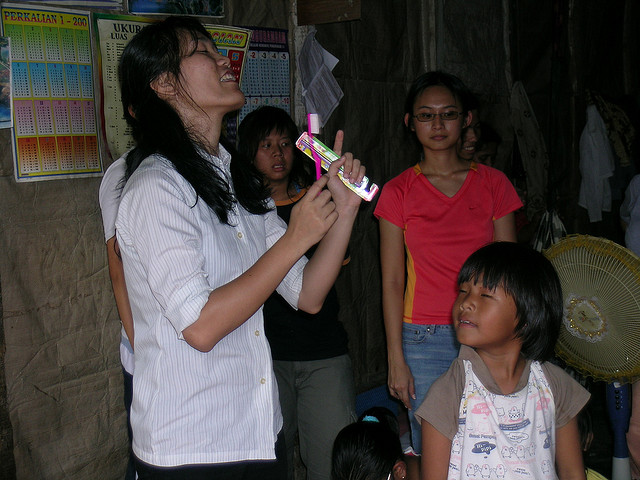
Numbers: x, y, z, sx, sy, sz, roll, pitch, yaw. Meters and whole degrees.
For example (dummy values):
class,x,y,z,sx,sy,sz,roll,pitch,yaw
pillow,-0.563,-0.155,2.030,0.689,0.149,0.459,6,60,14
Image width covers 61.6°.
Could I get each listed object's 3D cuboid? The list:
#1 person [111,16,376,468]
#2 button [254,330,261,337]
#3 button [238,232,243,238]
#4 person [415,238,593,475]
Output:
class,x,y,z,sx,sy,sz,roll,pitch,yaw
person,-0.319,0.020,1.758,0.633,1.496,0.533,-4,9,-20
button,-0.201,0.301,1.726,0.015,0.017,0.008,-10,1,-32
button,-0.261,-0.016,1.758,0.016,0.017,0.006,-7,10,-34
person,0.681,0.466,2.048,0.676,0.882,0.308,-3,9,-14
